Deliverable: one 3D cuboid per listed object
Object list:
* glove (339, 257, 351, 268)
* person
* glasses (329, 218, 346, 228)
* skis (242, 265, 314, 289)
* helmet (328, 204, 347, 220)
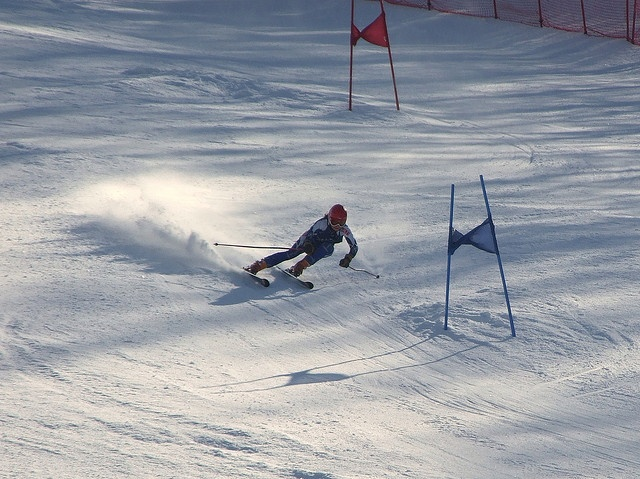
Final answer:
[{"bbox_3d":[0.447,0.407,17.943,0.233,0.080,0.234,23,50,14],"label":"glove"},{"bbox_3d":[-0.048,0.125,17.933,2.433,1.199,0.645,-23,45,22],"label":"person"},{"bbox_3d":[0.326,-0.292,17.930,0.217,0.196,0.163,11,52,-26],"label":"glasses"},{"bbox_3d":[-0.789,0.677,17.596,1.834,0.086,0.182,11,19,32],"label":"skis"},{"bbox_3d":[0.302,-0.488,17.908,0.374,0.245,0.300,8,36,0],"label":"helmet"}]
